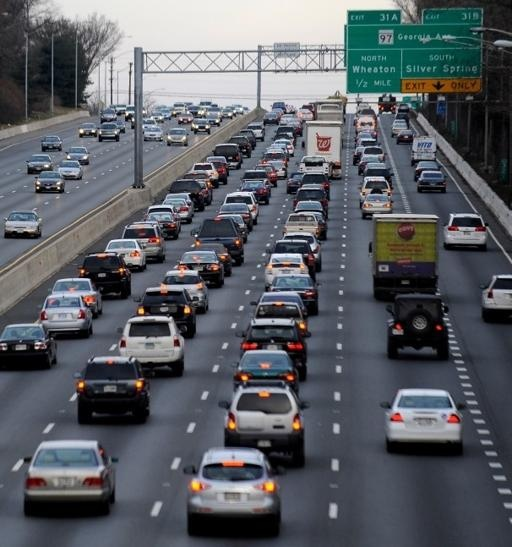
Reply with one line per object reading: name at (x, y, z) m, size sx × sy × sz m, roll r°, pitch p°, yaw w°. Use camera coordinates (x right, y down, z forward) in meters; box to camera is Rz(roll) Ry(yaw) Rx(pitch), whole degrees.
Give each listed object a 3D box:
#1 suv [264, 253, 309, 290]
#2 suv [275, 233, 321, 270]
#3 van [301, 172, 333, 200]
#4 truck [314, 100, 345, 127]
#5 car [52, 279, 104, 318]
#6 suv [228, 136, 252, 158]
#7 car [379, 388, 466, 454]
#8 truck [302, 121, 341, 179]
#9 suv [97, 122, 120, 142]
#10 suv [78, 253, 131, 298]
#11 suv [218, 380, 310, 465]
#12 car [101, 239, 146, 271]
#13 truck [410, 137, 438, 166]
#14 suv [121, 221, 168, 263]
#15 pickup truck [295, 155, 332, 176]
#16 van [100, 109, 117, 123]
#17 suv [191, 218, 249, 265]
suv at (1.190, -0.300, 37.462) m, size 1.541 × 1.579 × 1.882 m, roll -3°, pitch 9°, yaw 7°
suv at (2.264, -1.035, 43.297) m, size 1.885 × 1.819 × 2.104 m, roll -3°, pitch 10°, yaw 4°
van at (4.538, -6.769, 67.422) m, size 2.051 × 2.061 × 4.853 m, roll 1°, pitch 12°, yaw 5°
truck at (7.783, -17.687, 94.721) m, size 2.939 × 3.089 × 4.679 m, roll 1°, pitch 10°, yaw 5°
car at (-6.872, 1.173, 33.377) m, size 1.531 × 1.793 × 1.939 m, roll -4°, pitch 10°, yaw -4°
suv at (-1.596, -14.594, 100.497) m, size 1.539 × 1.694 × 3.015 m, roll 1°, pitch 13°, yaw 2°
car at (3.074, 2.788, 16.208) m, size 1.440 × 1.176 × 0.669 m, roll 1°, pitch 2°, yaw 9°
truck at (6.349, -11.908, 81.376) m, size 2.498 × 4.119 × 6.965 m, roll 1°, pitch 13°, yaw 7°
suv at (-18.604, -18.115, 111.199) m, size 2.395 × 2.884 × 5.610 m, roll 0°, pitch 3°, yaw -7°
suv at (-6.719, -0.021, 38.670) m, size 1.677 × 2.098 × 2.351 m, roll -4°, pitch 9°, yaw -3°
suv at (0.165, 2.570, 14.802) m, size 1.206 × 1.081 × 1.840 m, roll 0°, pitch 13°, yaw 4°
car at (-6.566, -0.818, 44.507) m, size 1.557 × 1.703 × 1.858 m, roll -5°, pitch 10°, yaw -7°
truck at (17.832, -13.339, 94.119) m, size 1.896 × 2.141 × 3.227 m, roll 0°, pitch 8°, yaw 6°
suv at (-6.105, -1.568, 47.987) m, size 1.986 × 2.258 × 2.448 m, roll -5°, pitch 12°, yaw -4°
pickup truck at (5.227, -9.576, 77.624) m, size 2.651 × 2.456 × 4.893 m, roll 0°, pitch 3°, yaw 3°
van at (-21.855, -23.372, 129.121) m, size 2.052 × 2.086 × 1.922 m, roll -1°, pitch 3°, yaw -25°
suv at (-1.805, -1.739, 46.262) m, size 2.270 × 2.365 × 2.709 m, roll -3°, pitch 11°, yaw 5°
